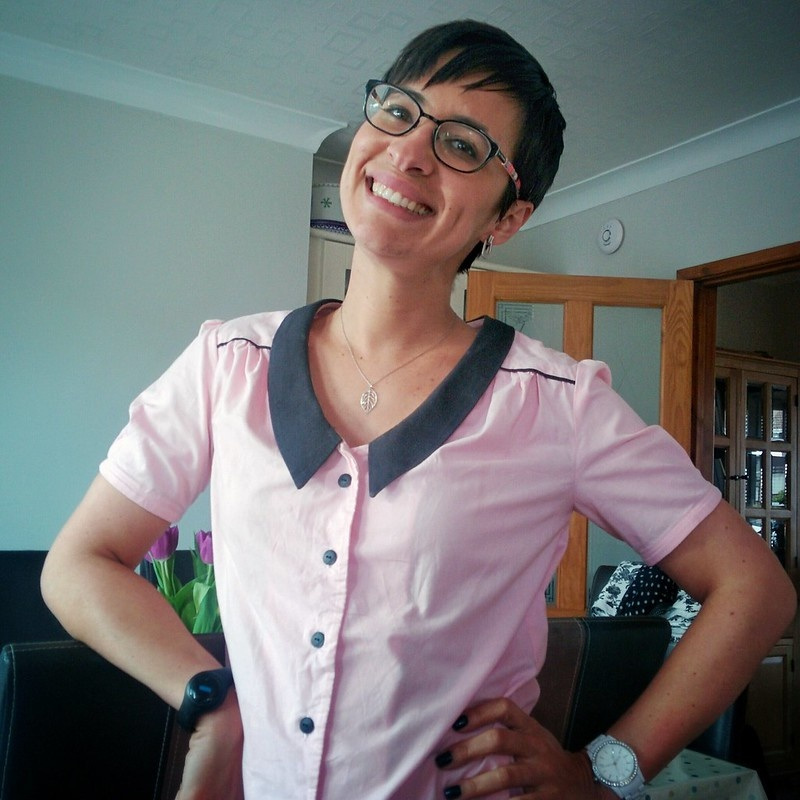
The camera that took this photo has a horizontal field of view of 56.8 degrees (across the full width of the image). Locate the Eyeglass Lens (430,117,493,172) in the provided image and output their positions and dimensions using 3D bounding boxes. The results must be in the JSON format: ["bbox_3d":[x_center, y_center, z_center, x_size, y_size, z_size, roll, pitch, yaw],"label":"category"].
[{"bbox_3d":[0.076,-0.308,0.898,0.064,0.061,0.085,-1,12,-22],"label":"Eyeglass Lens"}]

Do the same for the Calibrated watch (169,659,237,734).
[{"bbox_3d":[-0.206,0.302,0.782,0.055,0.064,0.057,2,5,-33],"label":"Calibrated watch"}]

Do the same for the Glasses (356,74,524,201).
[{"bbox_3d":[0.046,-0.329,0.956,0.154,0.045,0.154,27,0,1],"label":"Glasses"}]

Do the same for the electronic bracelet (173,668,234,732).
[{"bbox_3d":[-0.204,0.307,0.767,0.063,0.061,0.061,1,5,-35],"label":"electronic bracelet"}]
